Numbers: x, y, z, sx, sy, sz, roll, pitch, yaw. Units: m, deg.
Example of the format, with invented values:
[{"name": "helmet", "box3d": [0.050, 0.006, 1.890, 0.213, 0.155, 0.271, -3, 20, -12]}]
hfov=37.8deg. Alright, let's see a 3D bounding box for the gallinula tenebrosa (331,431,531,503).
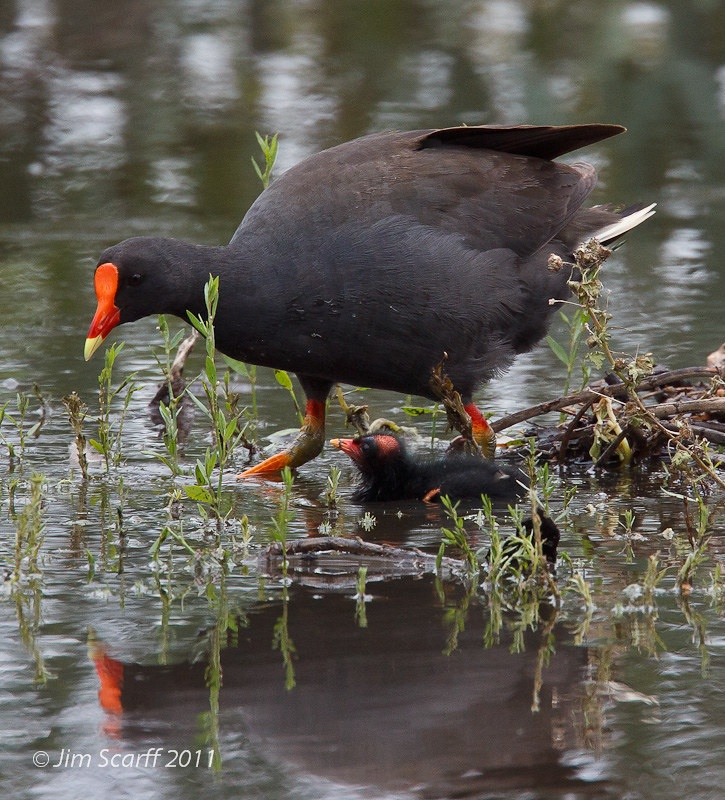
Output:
[{"name": "gallinula tenebrosa", "box3d": [0.200, 0.261, 3.942, 0.820, 0.248, 0.293, 1, 21, -30]}]
